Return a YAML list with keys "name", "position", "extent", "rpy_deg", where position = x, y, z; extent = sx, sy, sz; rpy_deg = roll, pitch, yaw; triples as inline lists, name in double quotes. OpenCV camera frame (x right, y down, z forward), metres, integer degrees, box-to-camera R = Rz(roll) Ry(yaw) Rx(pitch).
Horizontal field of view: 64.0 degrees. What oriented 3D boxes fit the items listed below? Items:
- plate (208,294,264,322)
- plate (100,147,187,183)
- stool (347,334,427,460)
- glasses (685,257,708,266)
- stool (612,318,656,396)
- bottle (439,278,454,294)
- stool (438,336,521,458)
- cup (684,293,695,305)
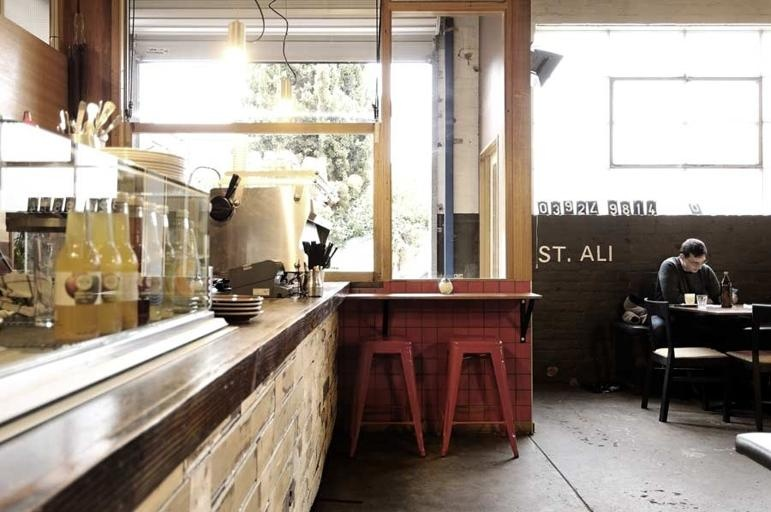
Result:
- name: "plate"
  position: [-0.694, 0.250, 2.866]
  extent: [0.220, 0.109, 0.078]
  rpy_deg: [0, 6, 1]
- name: "plate"
  position: [-1.413, -0.556, 3.689]
  extent: [0.428, 0.175, 0.309]
  rpy_deg: [-3, 6, -24]
- name: "stool"
  position: [0.019, 1.058, 4.909]
  extent: [0.597, 0.873, 0.693]
  rpy_deg: [0, 6, 1]
- name: "glasses"
  position: [3.020, 0.049, 6.081]
  extent: [0.136, 0.053, 0.145]
  rpy_deg: [0, 26, 6]
- name: "stool"
  position: [2.645, 1.104, 6.809]
  extent: [0.392, 0.647, 0.408]
  rpy_deg: [-20, -3, 16]
- name: "bottle"
  position: [0.501, 0.242, 5.078]
  extent: [0.117, 0.140, 0.117]
  rpy_deg: [1, -9, -24]
- name: "stool"
  position: [0.760, 1.058, 4.893]
  extent: [0.592, 0.876, 0.686]
  rpy_deg: [1, 6, 10]
- name: "cup"
  position: [2.872, 0.403, 5.844]
  extent: [0.106, 0.128, 0.110]
  rpy_deg: [-1, -2, 0]
